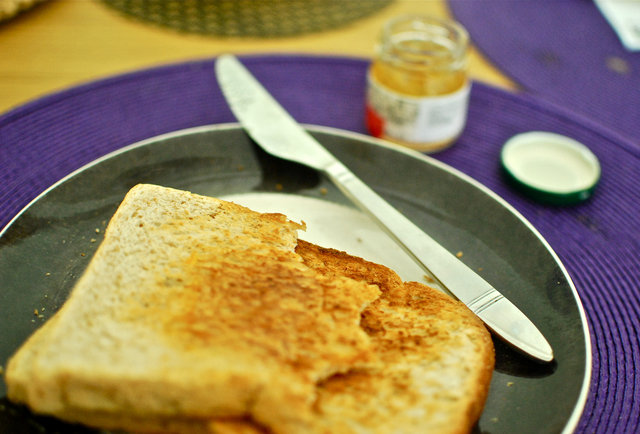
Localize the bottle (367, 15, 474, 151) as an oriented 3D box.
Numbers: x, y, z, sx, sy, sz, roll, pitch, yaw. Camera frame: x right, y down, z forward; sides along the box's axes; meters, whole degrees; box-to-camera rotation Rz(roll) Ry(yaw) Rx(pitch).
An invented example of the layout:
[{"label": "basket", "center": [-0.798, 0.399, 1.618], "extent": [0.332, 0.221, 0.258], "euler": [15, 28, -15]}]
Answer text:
[{"label": "bottle", "center": [0.255, -0.353, 1.618], "extent": [0.257, 0.287, 0.274], "euler": [11, 38, 11]}]
